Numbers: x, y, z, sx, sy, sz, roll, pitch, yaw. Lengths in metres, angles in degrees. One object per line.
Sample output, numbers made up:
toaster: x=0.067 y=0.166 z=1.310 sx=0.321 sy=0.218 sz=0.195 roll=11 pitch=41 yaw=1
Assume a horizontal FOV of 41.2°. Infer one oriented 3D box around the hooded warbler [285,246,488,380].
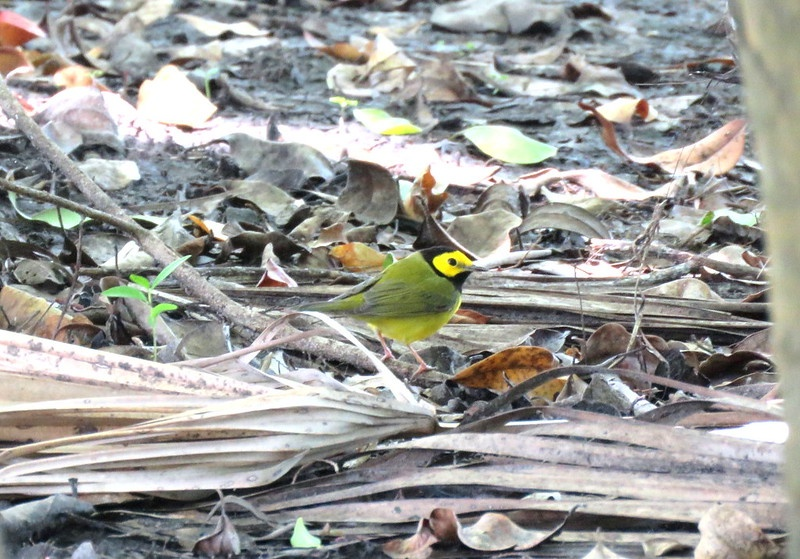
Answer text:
hooded warbler: x=0.013 y=0.077 z=5.410 sx=0.563 sy=0.335 sz=0.818 roll=20 pitch=44 yaw=20
